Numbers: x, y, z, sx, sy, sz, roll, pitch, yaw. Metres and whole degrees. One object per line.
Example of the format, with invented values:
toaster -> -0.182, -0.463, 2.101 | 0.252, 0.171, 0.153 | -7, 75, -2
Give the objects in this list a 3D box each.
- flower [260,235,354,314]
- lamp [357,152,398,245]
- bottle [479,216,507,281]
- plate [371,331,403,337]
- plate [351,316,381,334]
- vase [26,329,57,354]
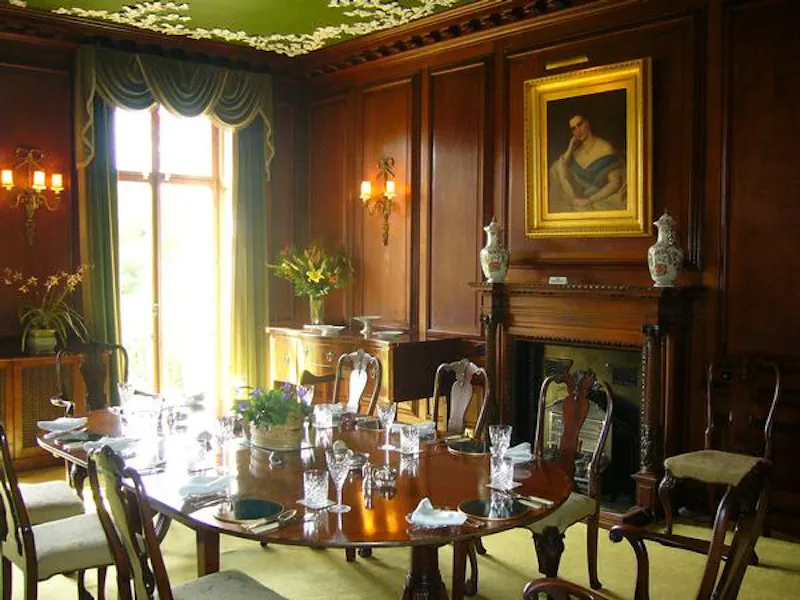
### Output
flower -> -0.986, -0.280, 6.838 | 0.754, 0.895, 0.816 | 3, -6, -29
lamp -> -0.251, -1.006, 6.545 | 0.408, 0.900, 0.176 | 0, 1, 42
bottle -> 0.785, -0.420, 5.407 | 0.221, 0.538, 0.225 | 0, 1, 0
plate -> -0.121, 0.309, 6.065 | 0.278, 0.057, 0.389 | 0, 0, -2
plate -> -0.328, 0.215, 6.350 | 0.194, 0.136, 0.203 | 0, -8, -1
vase -> -3.223, 0.384, 5.870 | 0.219, 0.210, 0.221 | 1, -11, -2
